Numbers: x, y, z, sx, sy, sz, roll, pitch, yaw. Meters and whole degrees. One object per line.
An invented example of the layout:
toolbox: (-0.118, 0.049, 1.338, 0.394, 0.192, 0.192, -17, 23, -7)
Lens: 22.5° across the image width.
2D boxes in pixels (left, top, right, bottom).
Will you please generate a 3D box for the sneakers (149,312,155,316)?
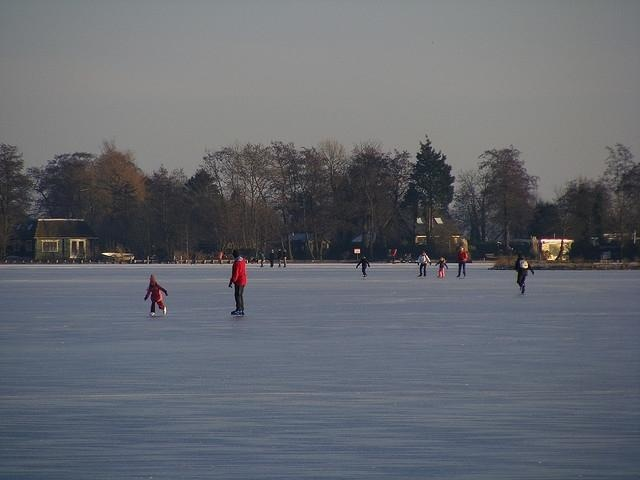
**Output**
sneakers: (-4.209, 1.917, 40.300, 0.095, 0.126, 0.184, -1, -6, -4)

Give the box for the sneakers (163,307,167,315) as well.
sneakers: (-3.958, 1.922, 40.894, 0.092, 0.302, 0.117, 1, 18, -3)
